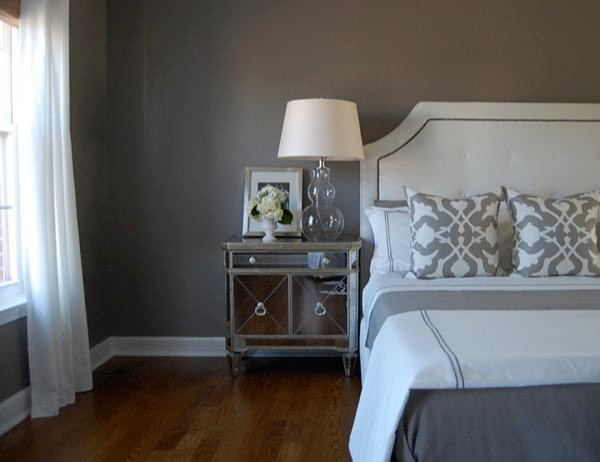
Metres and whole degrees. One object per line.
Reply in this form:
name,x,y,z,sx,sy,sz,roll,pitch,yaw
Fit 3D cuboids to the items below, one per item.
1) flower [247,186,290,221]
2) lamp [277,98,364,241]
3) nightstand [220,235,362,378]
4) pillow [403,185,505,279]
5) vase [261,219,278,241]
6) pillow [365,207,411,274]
flower,-0.212,-0.160,3.618,0.259,0.296,0.254,-12,8,-11
lamp,0.149,-0.423,3.588,0.576,0.983,0.502,1,11,4
nightstand,-0.057,0.471,3.817,1.167,1.243,0.797,0,1,2
pillow,0.988,0.038,3.229,0.538,0.560,0.211,0,-7,0
vase,-0.221,0.002,3.563,0.128,0.186,0.132,-1,-3,31
pillow,0.617,0.058,3.470,0.406,0.533,0.175,-3,-9,16
